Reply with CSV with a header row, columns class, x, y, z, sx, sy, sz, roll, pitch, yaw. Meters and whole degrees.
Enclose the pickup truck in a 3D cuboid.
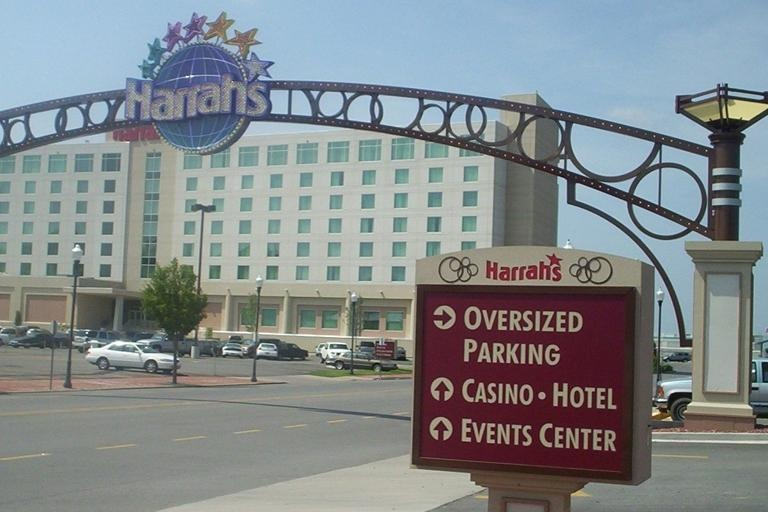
class,x,y,z,sx,sy,sz,roll,pitch,yaw
pickup truck,12.364,4.982,44.467,3.650,1.792,2.142,-1,-7,15
